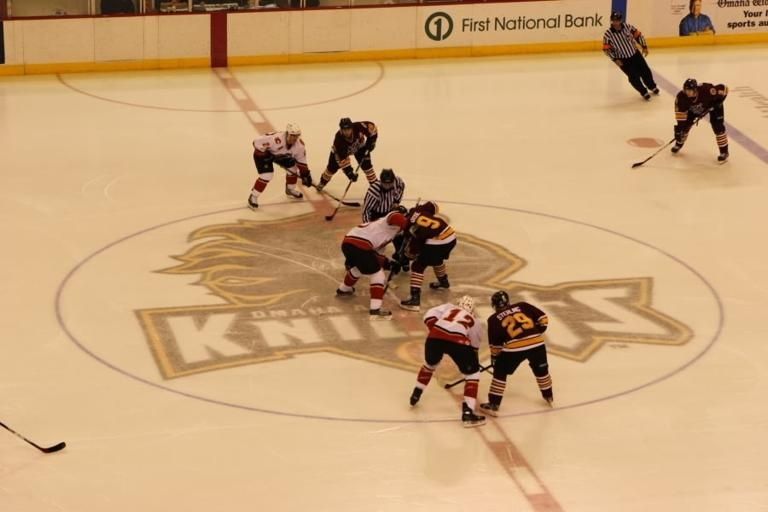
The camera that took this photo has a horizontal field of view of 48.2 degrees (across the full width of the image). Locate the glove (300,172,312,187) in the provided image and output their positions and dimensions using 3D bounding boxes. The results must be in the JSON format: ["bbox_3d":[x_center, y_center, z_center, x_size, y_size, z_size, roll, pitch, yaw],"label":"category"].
[{"bbox_3d":[-1.196,-1.173,13.190,0.095,0.247,0.107,1,52,0],"label":"glove"}]

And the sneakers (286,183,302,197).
[{"bbox_3d":[-1.404,-1.021,13.392,0.266,0.115,0.134,19,41,27],"label":"sneakers"}]

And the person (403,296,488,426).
[{"bbox_3d":[0.680,1.124,9.165,0.751,1.080,0.908,-1,27,2],"label":"person"}]

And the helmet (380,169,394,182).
[{"bbox_3d":[0.036,-1.068,11.379,0.155,0.171,0.177,0,17,-1],"label":"helmet"}]

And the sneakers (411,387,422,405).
[{"bbox_3d":[0.337,1.515,9.239,0.101,0.215,0.088,16,8,1],"label":"sneakers"}]

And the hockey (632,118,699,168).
[{"bbox_3d":[4.861,-1.911,14.760,1.545,0.170,0.096,-40,87,-28],"label":"hockey"}]

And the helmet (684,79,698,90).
[{"bbox_3d":[5.038,-2.841,14.091,0.194,0.166,0.366,6,27,14],"label":"helmet"}]

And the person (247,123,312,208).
[{"bbox_3d":[-1.638,-1.357,13.352,0.980,1.293,0.915,-20,51,-28],"label":"person"}]

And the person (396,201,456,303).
[{"bbox_3d":[0.539,-0.094,11.113,0.896,1.381,0.820,-3,15,12],"label":"person"}]

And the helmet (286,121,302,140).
[{"bbox_3d":[-1.350,-1.856,12.837,0.222,0.254,0.186,-17,31,-29],"label":"helmet"}]

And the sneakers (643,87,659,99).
[{"bbox_3d":[5.183,-3.172,16.687,0.287,0.120,0.097,-37,38,16],"label":"sneakers"}]

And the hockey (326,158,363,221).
[{"bbox_3d":[-0.633,-0.801,13.110,0.220,0.211,1.005,28,51,-5],"label":"hockey"}]

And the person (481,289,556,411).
[{"bbox_3d":[1.467,1.077,9.199,0.754,1.103,0.758,4,27,11],"label":"person"}]
